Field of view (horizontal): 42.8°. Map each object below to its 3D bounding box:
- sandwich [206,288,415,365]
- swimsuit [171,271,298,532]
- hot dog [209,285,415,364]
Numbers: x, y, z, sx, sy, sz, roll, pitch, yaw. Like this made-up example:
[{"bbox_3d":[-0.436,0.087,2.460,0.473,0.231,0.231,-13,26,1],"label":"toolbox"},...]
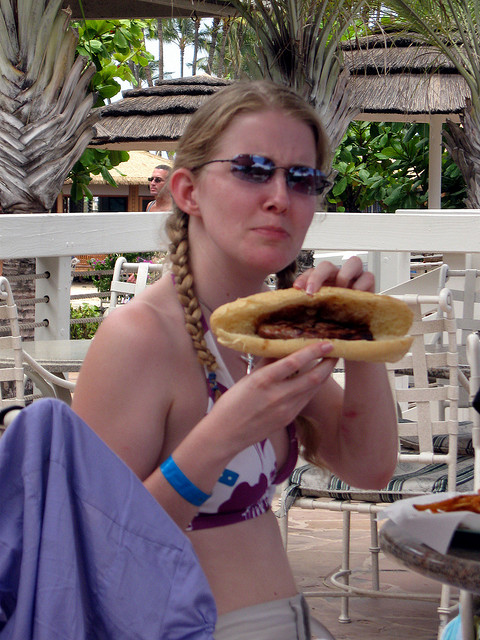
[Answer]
[{"bbox_3d":[0.135,-0.019,1.117,0.340,0.143,0.304,-2,6,-26],"label":"sandwich"},{"bbox_3d":[-0.035,0.154,1.343,0.410,0.423,0.317,-6,12,-29],"label":"swimsuit"},{"bbox_3d":[0.118,-0.022,1.136,0.340,0.145,0.308,-2,6,-26],"label":"hot dog"}]
